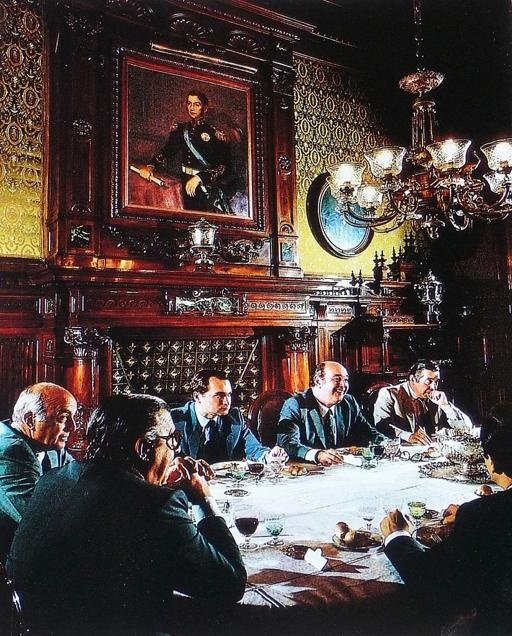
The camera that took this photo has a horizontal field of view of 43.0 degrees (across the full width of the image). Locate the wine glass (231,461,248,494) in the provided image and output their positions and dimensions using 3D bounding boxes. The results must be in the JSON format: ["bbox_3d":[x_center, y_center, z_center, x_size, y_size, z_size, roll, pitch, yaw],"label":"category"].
[{"bbox_3d":[-0.073,0.646,2.620,0.070,0.082,0.061,0,0,4],"label":"wine glass"}]

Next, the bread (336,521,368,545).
[{"bbox_3d":[0.291,0.659,1.970,0.083,0.056,0.054,-11,-20,21],"label":"bread"}]

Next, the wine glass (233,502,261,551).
[{"bbox_3d":[-0.023,0.649,2.012,0.085,0.112,0.085,-7,-19,23],"label":"wine glass"}]

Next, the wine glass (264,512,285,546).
[{"bbox_3d":[0.048,0.663,2.034,0.070,0.082,0.060,-2,0,-7],"label":"wine glass"}]

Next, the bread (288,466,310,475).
[{"bbox_3d":[0.173,0.640,2.736,0.040,0.016,0.053,1,-1,34],"label":"bread"}]

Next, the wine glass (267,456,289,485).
[{"bbox_3d":[0.076,0.635,2.709,0.093,0.117,0.077,-1,-1,13],"label":"wine glass"}]

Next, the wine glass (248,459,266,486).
[{"bbox_3d":[0.002,0.628,2.667,0.066,0.067,0.063,1,-11,-2],"label":"wine glass"}]

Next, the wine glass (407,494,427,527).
[{"bbox_3d":[0.513,0.627,2.106,0.068,0.093,0.068,-3,1,-2],"label":"wine glass"}]

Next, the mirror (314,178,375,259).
[{"bbox_3d":[0.746,-0.850,5.694,0.055,0.690,0.764,-23,35,-29],"label":"mirror"}]

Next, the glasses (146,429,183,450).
[{"bbox_3d":[-0.274,0.371,1.992,0.076,0.029,0.073,-8,-9,30],"label":"glasses"}]

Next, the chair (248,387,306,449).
[{"bbox_3d":[0.064,0.580,3.829,0.316,0.467,0.278,0,-25,-1],"label":"chair"}]
